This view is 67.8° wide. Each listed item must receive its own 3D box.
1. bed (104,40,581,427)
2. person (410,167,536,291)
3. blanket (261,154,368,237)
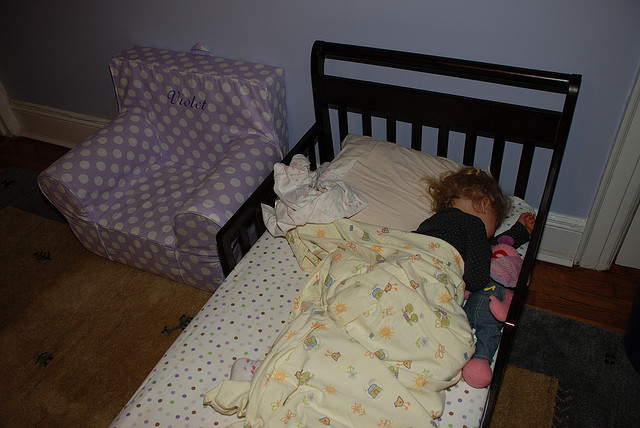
[{"bbox_3d":[0.237,0.054,2.413,1.550,1.272,2.092,20,40,23],"label":"bed"},{"bbox_3d":[0.734,0.104,2.589,0.471,0.416,0.936,5,35,45],"label":"person"},{"bbox_3d":[-0.013,-0.102,2.673,0.506,0.185,0.483,-13,64,4],"label":"blanket"}]
